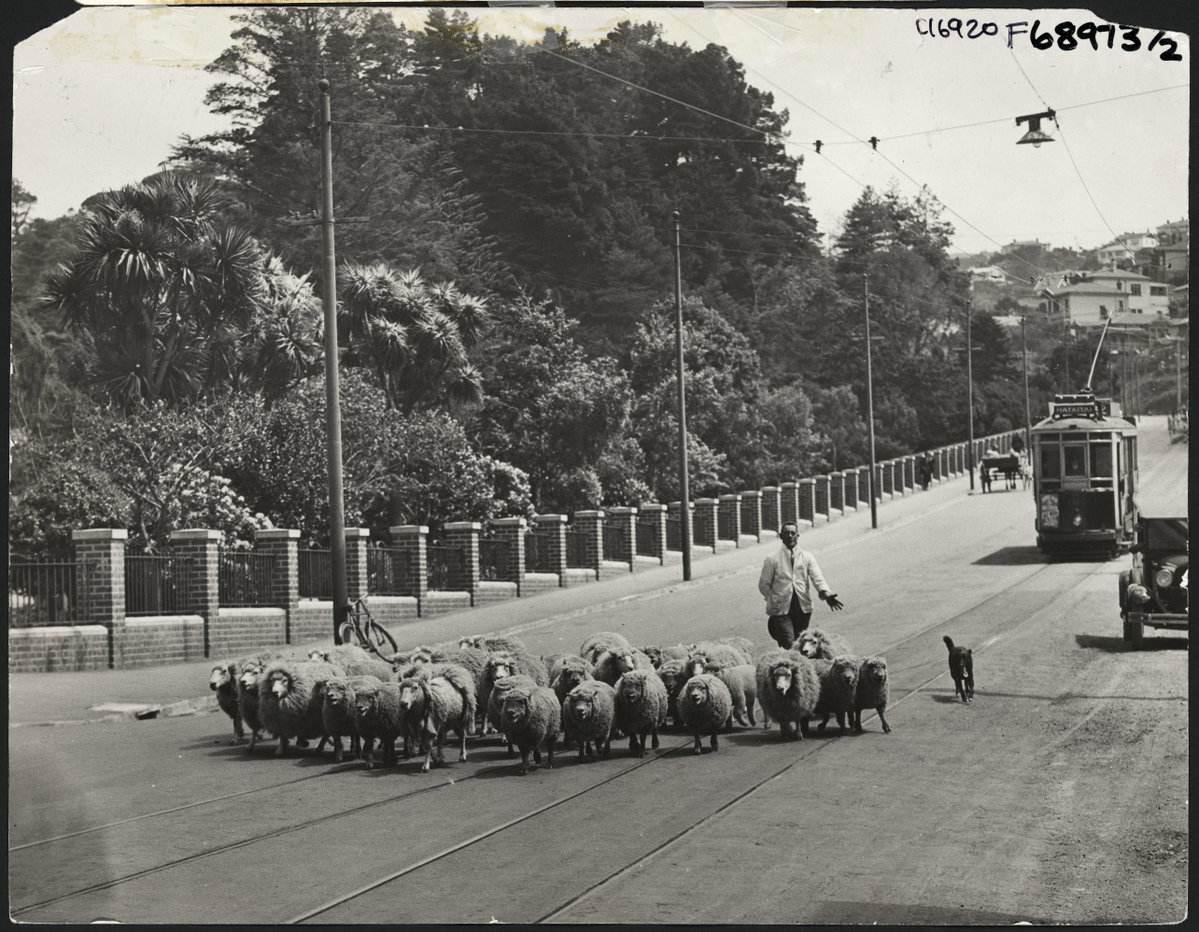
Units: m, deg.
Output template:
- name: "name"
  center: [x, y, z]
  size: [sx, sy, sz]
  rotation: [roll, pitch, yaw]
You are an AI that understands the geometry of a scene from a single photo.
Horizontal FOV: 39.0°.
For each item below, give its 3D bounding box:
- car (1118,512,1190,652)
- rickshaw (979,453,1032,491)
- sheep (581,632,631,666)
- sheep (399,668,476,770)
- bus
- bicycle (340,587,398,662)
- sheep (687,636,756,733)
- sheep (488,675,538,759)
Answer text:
- name: "car"
  center: [9.717, 1.865, 29.729]
  size: [1.171, 2.020, 1.319]
  rotation: [-5, -4, 18]
- name: "rickshaw"
  center: [16.308, 0.131, 68.498]
  size: [1.523, 1.424, 2.131]
  rotation: [-2, 0, 16]
- name: "sheep"
  center: [0.047, 2.917, 27.983]
  size: [0.399, 0.449, 0.778]
  rotation: [8, -17, -10]
- name: "sheep"
  center: [-2.441, 3.670, 24.741]
  size: [0.746, 1.450, 1.465]
  rotation: [-5, -4, 17]
- name: "bus"
  center: [11.606, 0.148, 40.721]
  size: [2.509, 3.836, 1.974]
  rotation: [-4, -4, 2]
- name: "bicycle"
  center: [-4.605, 2.941, 32.664]
  size: [0.733, 0.961, 1.584]
  rotation: [-15, -20, 12]
- name: "sheep"
  center: [1.960, 3.208, 26.235]
  size: [0.598, 0.984, 1.933]
  rotation: [-20, -22, 16]
- name: "sheep"
  center: [-1.435, 3.486, 25.175]
  size: [0.557, 0.954, 1.430]
  rotation: [-3, -19, 3]
